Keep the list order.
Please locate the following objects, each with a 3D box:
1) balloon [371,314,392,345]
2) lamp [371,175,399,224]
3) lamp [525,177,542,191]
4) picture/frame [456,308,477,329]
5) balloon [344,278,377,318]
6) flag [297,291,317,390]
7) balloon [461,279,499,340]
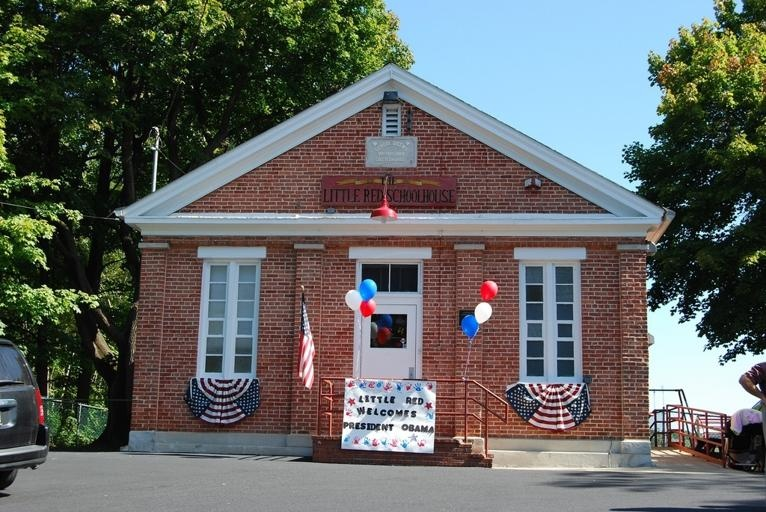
[{"bbox_3d":[-0.027,2.186,34.016,0.406,0.622,0.931,-26,-4,-9],"label":"balloon"},{"bbox_3d":[0.073,-1.742,33.873,0.809,1.366,1.569,1,4,1],"label":"lamp"},{"bbox_3d":[4.631,-2.225,34.330,0.462,0.396,0.431,1,-11,1],"label":"lamp"},{"bbox_3d":[2.521,1.894,33.460,0.652,0.723,0.077,-1,-2,5],"label":"picture/frame"},{"bbox_3d":[-0.625,1.171,33.356,1.107,0.996,1.110,-1,36,-8],"label":"balloon"},{"bbox_3d":[-2.250,2.700,33.438,0.487,2.744,1.258,1,4,-3],"label":"flag"},{"bbox_3d":[2.872,1.677,33.404,0.806,1.959,0.873,1,-1,9],"label":"balloon"}]
